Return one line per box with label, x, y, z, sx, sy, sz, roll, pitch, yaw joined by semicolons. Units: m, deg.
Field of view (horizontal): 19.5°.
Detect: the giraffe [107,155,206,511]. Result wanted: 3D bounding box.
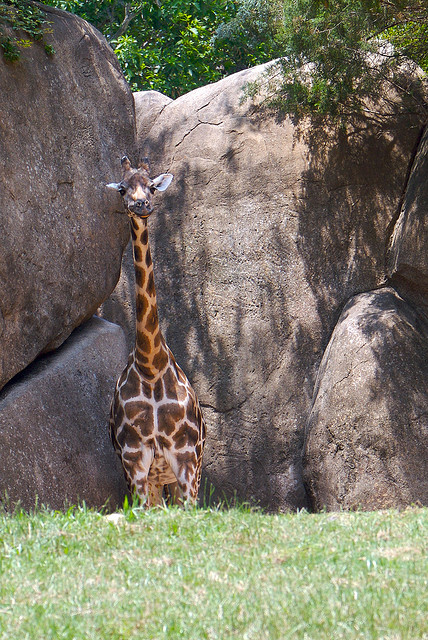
giraffe;-0.376;0.197;8.458;0.675;2.553;0.869;-1;13;-6
